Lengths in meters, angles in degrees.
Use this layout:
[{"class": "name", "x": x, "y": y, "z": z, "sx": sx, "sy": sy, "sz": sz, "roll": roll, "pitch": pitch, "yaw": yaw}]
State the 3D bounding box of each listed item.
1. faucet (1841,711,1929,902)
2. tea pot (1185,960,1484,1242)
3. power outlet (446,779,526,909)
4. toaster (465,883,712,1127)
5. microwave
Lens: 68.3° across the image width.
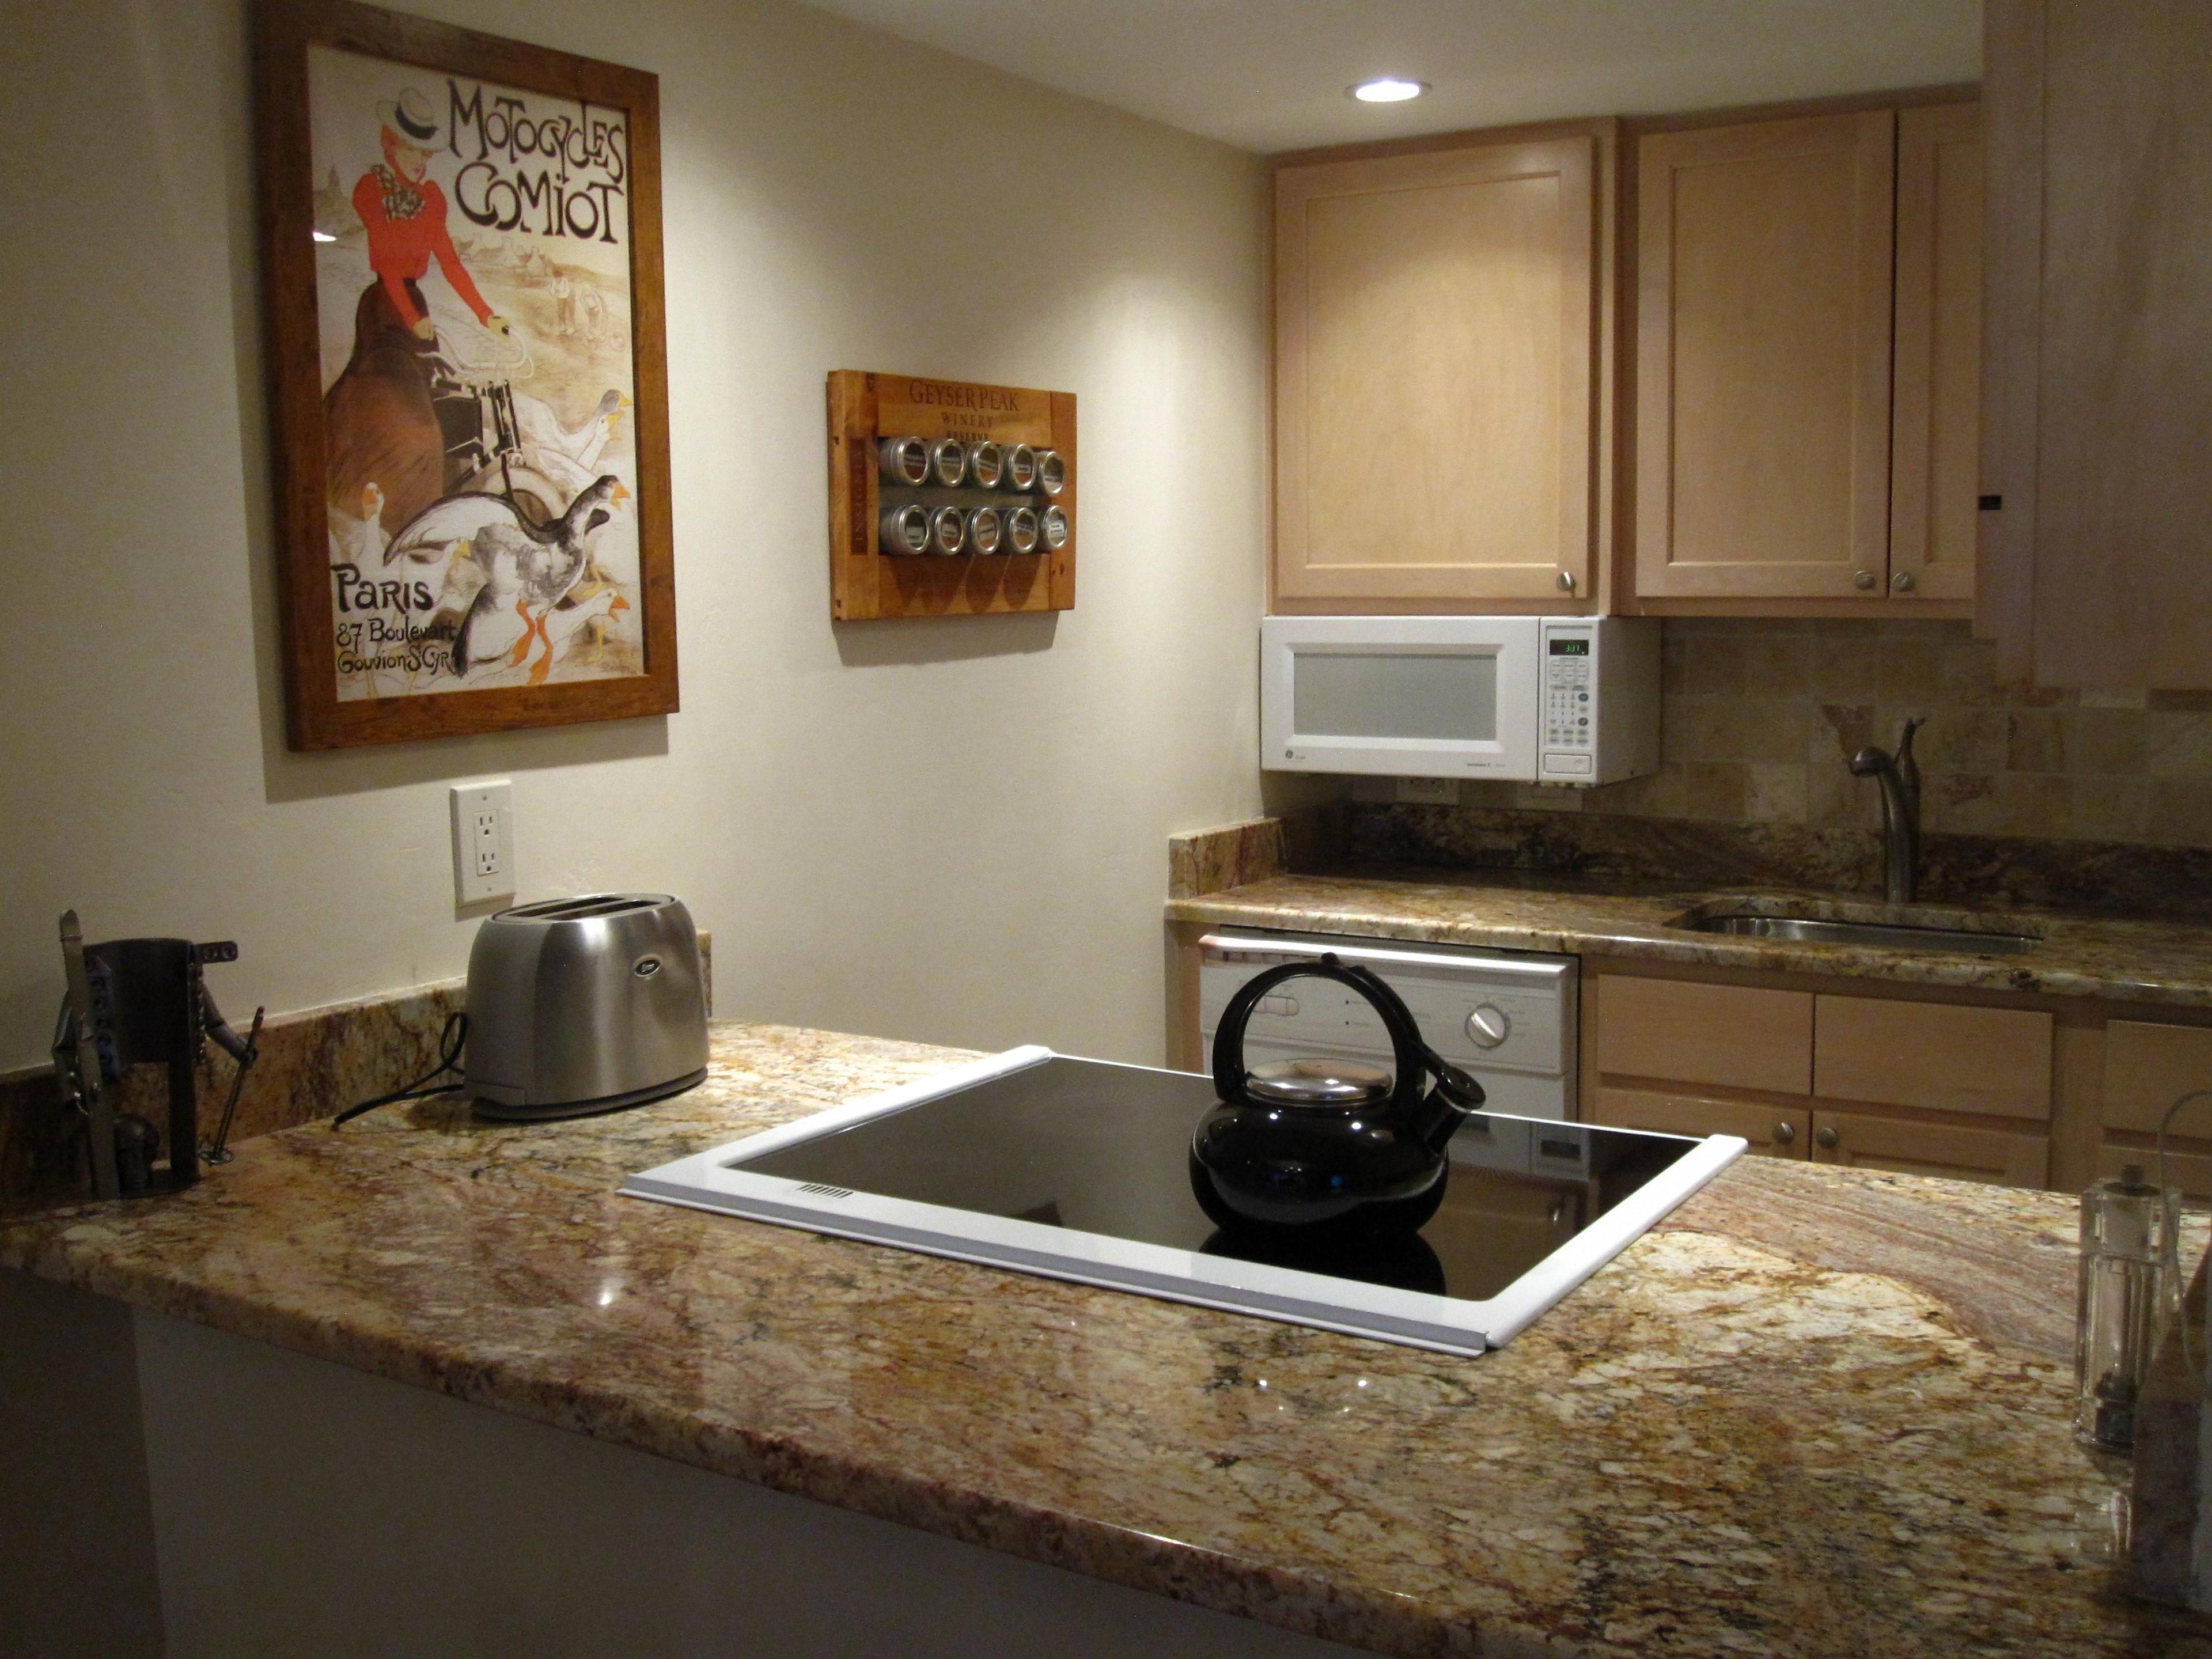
[{"class": "faucet", "x": 1.650, "y": -0.037, "z": 3.477, "sx": 0.157, "sy": 0.382, "sz": 0.294, "roll": 3, "pitch": 8, "yaw": 25}, {"class": "tea pot", "x": 0.236, "y": 0.259, "z": 1.718, "sx": 0.289, "sy": 0.285, "sz": 0.251, "roll": -1, "pitch": 1, "yaw": 20}, {"class": "power outlet", "x": -0.867, "y": 0.017, "z": 2.265, "sx": 0.026, "sy": 0.246, "sz": 0.137, "roll": 8, "pitch": 13, "yaw": 31}, {"class": "toaster", "x": -0.683, "y": 0.235, "z": 2.189, "sx": 0.189, "sy": 0.258, "sz": 0.337, "roll": 1, "pitch": 3, "yaw": 31}, {"class": "microwave", "x": 0.773, "y": -0.302, "z": 3.669, "sx": 0.872, "sy": 0.360, "sz": 0.349, "roll": 1, "pitch": 8, "yaw": 15}]
